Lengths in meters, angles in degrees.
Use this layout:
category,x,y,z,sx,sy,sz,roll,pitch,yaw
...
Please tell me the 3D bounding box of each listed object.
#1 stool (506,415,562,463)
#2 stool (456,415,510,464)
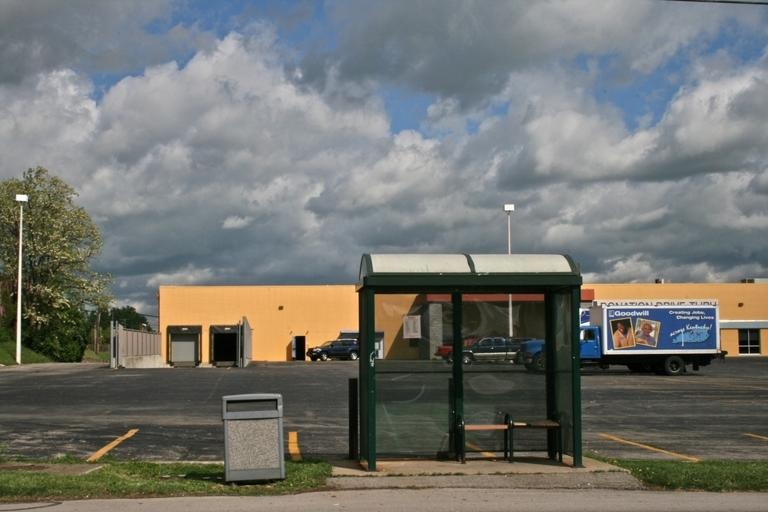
category,x,y,z,sx,sy,sz,roll,pitch,yaw
stool,3.298,4.040,17.191,0.978,1.132,1.000,-1,-1,-2
stool,2.180,3.990,17.055,0.949,0.792,0.403,0,-8,-4
